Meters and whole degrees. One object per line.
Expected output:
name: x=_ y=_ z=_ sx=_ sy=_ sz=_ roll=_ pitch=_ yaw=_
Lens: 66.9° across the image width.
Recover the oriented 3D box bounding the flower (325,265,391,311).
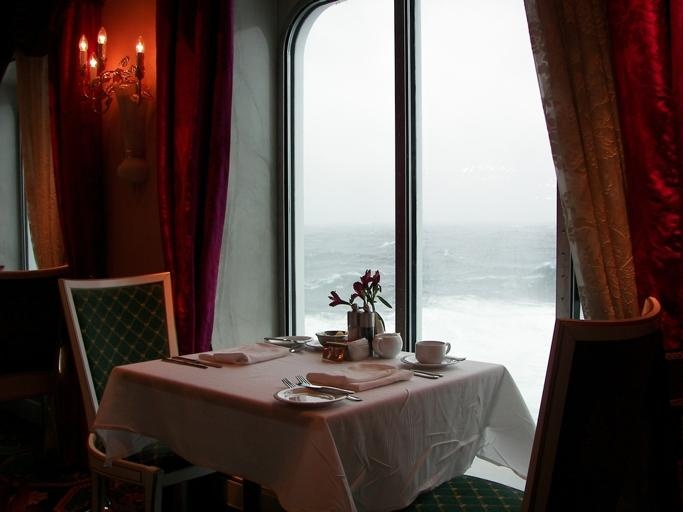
flower: x=0.119 y=0.171 z=2.221 sx=0.159 sy=0.140 sz=0.272 roll=-13 pitch=-8 yaw=14

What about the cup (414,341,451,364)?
cup: x=0.365 y=0.368 z=2.010 sx=0.069 sy=0.053 sz=0.114 roll=-8 pitch=-13 yaw=38

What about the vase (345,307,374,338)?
vase: x=0.081 y=0.313 z=2.209 sx=0.088 sy=0.165 sz=0.110 roll=-1 pitch=-8 yaw=19

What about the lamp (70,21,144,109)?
lamp: x=-1.488 y=-1.165 z=3.333 sx=0.484 sy=0.475 sz=0.253 roll=7 pitch=4 yaw=11

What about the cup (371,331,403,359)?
cup: x=0.186 y=0.359 z=2.125 sx=0.084 sy=0.077 sz=0.113 roll=2 pitch=7 yaw=41
